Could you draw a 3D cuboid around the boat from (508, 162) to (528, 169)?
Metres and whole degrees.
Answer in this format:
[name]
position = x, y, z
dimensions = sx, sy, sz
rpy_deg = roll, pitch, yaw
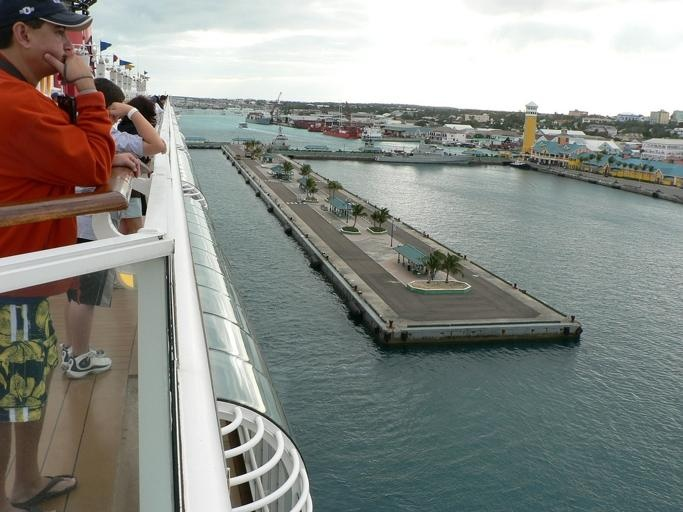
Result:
[boat]
position = 22.948, -11.721, 63.960
dimensions = 2.290, 0.612, 1.018
rpy_deg = 3, 32, 9
